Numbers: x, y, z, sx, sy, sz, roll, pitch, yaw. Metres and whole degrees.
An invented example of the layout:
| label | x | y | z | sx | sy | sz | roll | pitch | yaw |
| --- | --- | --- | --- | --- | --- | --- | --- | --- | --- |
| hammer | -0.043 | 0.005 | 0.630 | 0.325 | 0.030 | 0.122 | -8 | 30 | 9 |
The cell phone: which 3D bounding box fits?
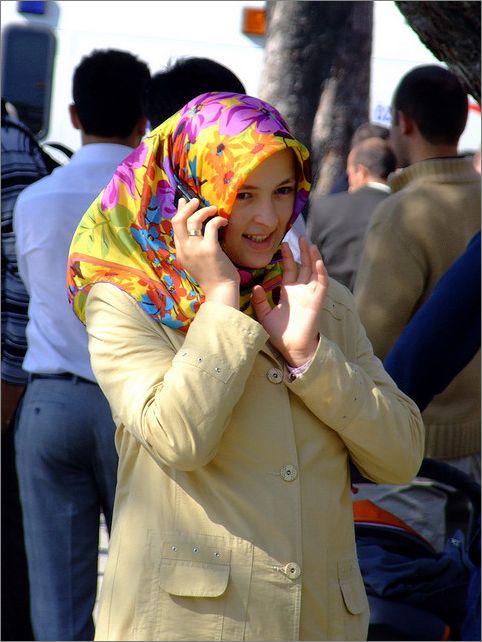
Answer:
| label | x | y | z | sx | sy | sz | roll | pitch | yaw |
| --- | --- | --- | --- | --- | --- | --- | --- | --- | --- |
| cell phone | -0.090 | -0.266 | 2.379 | 0.039 | 0.159 | 0.112 | -20 | 32 | -12 |
